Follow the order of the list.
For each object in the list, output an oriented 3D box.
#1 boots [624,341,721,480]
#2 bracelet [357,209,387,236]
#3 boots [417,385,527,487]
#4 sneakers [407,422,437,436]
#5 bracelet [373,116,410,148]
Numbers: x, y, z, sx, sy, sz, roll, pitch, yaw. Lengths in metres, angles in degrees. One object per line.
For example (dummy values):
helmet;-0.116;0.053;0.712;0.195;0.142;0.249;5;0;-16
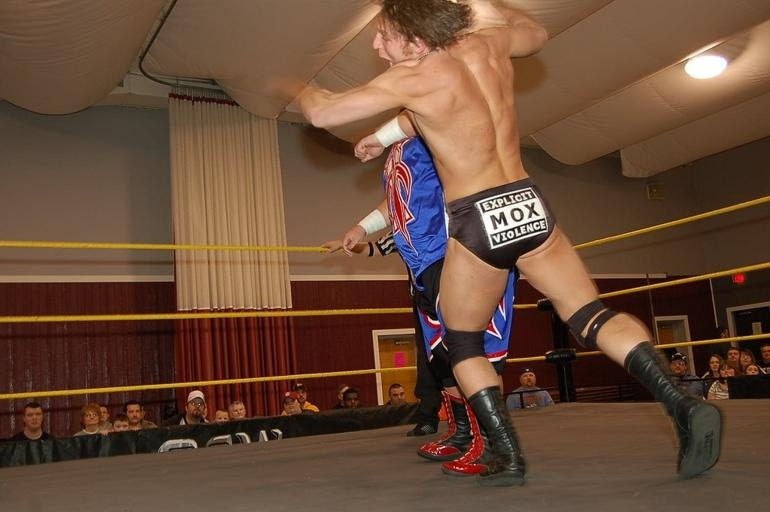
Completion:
boots;1.049;0.508;2.193;0.355;0.333;0.156;2;-31;0
bracelet;-0.045;-0.207;3.307;0.178;0.114;0.077;-34;4;-38
boots;0.358;0.747;2.372;0.230;0.461;0.486;2;-10;-35
sneakers;0.219;1.012;3.350;0.140;0.054;0.071;16;-27;-38
bracelet;0.030;-0.577;2.725;0.128;0.116;0.153;-33;-3;8
